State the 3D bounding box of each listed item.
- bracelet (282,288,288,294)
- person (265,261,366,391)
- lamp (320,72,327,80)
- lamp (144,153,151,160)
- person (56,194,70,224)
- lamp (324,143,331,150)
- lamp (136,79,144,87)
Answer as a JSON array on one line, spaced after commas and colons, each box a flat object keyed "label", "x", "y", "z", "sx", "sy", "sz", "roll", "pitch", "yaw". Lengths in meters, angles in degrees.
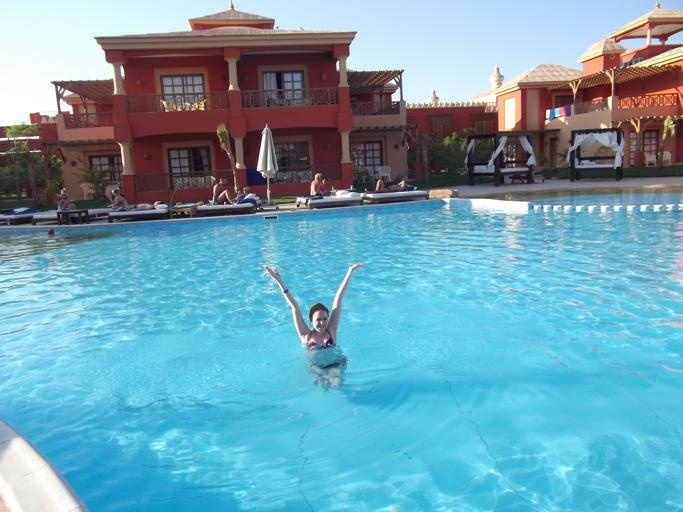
[{"label": "bracelet", "x": -0.689, "y": 0.420, "z": 6.585, "sx": 0.061, "sy": 0.036, "sz": 0.058, "roll": 0, "pitch": 6, "yaw": -1}, {"label": "person", "x": -0.189, "y": 0.824, "z": 6.434, "sx": 0.782, "sy": 1.077, "sz": 0.888, "roll": -6, "pitch": 9, "yaw": -18}, {"label": "lamp", "x": -0.828, "y": -8.213, "z": 24.904, "sx": 0.302, "sy": 0.314, "sz": 0.288, "roll": 2, "pitch": 17, "yaw": 8}, {"label": "lamp", "x": -8.588, "y": -4.440, "z": 24.237, "sx": 0.260, "sy": 0.218, "sz": 0.240, "roll": -2, "pitch": 31, "yaw": -5}, {"label": "person", "x": -9.320, "y": -1.615, "z": 18.324, "sx": 0.426, "sy": 0.978, "sz": 1.333, "roll": -8, "pitch": 10, "yaw": -26}, {"label": "lamp", "x": -0.690, "y": -5.109, "z": 25.391, "sx": 0.287, "sy": 0.280, "sz": 0.079, "roll": -3, "pitch": 9, "yaw": -3}, {"label": "lamp", "x": -8.742, "y": -7.517, "z": 23.703, "sx": 0.313, "sy": 0.306, "sz": 0.138, "roll": -6, "pitch": 9, "yaw": -17}]
